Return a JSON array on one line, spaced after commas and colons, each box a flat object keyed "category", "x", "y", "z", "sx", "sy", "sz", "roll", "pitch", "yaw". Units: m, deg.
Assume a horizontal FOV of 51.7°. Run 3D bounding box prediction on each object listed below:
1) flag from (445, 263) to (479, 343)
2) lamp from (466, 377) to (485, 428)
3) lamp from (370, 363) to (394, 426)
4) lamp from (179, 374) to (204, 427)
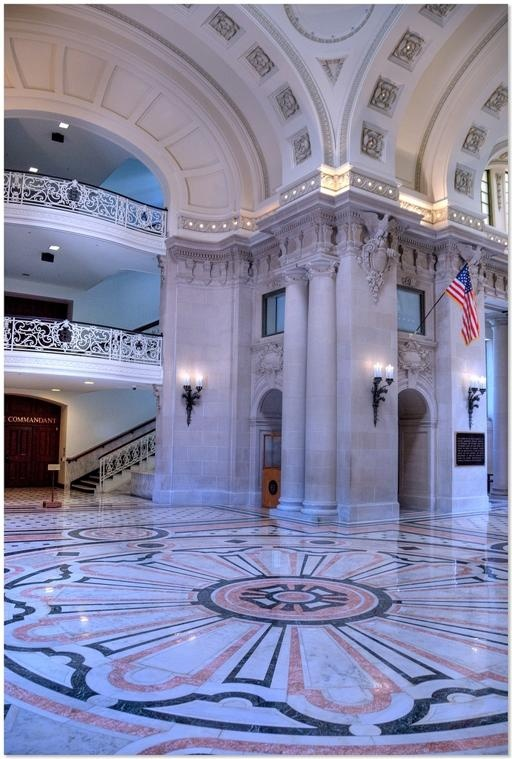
[{"category": "flag", "x": 4.450, "y": -1.744, "z": 11.588, "sx": 0.559, "sy": 2.114, "sz": 2.031, "roll": -2, "pitch": -7, "yaw": 21}, {"category": "lamp", "x": 5.286, "y": 0.588, "z": 12.859, "sx": 0.628, "sy": 1.270, "sz": 0.166, "roll": 6, "pitch": -8, "yaw": -37}, {"category": "lamp", "x": 2.568, "y": 0.324, "z": 10.800, "sx": 0.361, "sy": 1.281, "sz": 0.571, "roll": -4, "pitch": -8, "yaw": 34}, {"category": "lamp", "x": -1.604, "y": 0.544, "z": 13.229, "sx": 0.548, "sy": 1.228, "sz": 0.329, "roll": 2, "pitch": -7, "yaw": -9}]
